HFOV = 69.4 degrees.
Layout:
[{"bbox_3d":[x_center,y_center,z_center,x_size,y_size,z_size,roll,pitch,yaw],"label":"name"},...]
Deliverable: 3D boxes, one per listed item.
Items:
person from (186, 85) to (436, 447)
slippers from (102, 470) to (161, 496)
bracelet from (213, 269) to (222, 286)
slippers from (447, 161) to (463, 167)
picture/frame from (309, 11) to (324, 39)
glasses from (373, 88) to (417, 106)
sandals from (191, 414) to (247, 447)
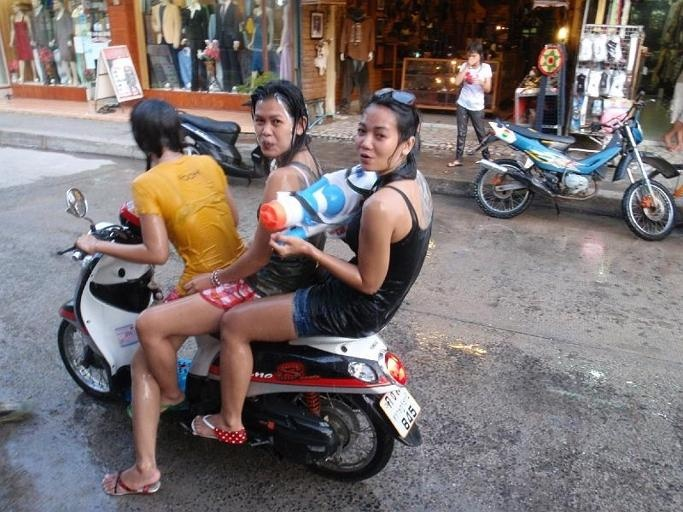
[{"bbox_3d":[-0.101,0.132,2.416,0.986,1.822,0.471,5,23,8],"label":"person"},{"bbox_3d":[-1.123,1.256,2.703,0.321,0.076,0.128,4,24,-7],"label":"slippers"},{"bbox_3d":[-0.655,0.118,2.575,0.028,0.065,0.072,-4,35,-5],"label":"bracelet"},{"bbox_3d":[1.963,-1.627,8.628,0.317,0.111,0.100,-5,25,-22],"label":"slippers"},{"bbox_3d":[-0.623,-5.531,11.613,0.104,0.725,0.659,11,22,27],"label":"picture/frame"},{"bbox_3d":[0.238,-0.736,2.246,0.187,0.068,0.202,3,21,5],"label":"glasses"},{"bbox_3d":[-0.662,0.974,2.692,0.321,0.073,0.146,11,15,15],"label":"sandals"}]
